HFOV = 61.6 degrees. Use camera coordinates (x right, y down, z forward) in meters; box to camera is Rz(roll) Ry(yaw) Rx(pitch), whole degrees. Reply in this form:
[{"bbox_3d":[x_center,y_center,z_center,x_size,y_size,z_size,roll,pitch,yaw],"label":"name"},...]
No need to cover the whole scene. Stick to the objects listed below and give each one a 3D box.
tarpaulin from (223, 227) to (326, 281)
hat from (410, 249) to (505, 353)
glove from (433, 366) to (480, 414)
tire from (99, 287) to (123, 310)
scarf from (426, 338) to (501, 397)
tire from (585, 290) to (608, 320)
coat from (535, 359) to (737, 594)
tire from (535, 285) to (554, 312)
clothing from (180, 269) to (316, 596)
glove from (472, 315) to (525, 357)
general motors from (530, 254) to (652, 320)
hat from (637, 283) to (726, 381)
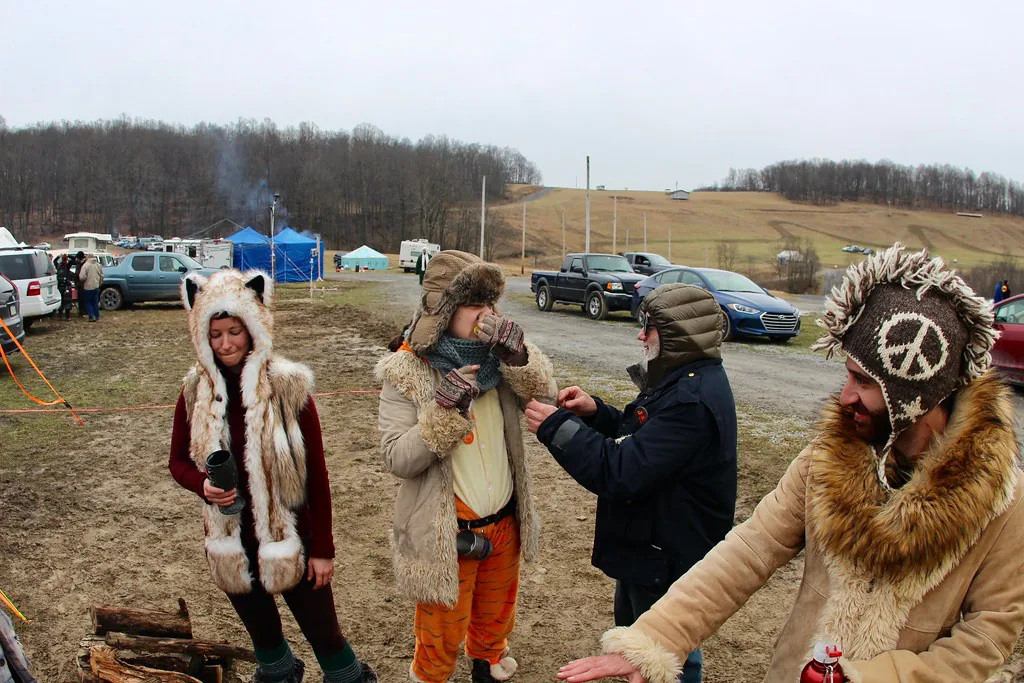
[{"bbox_3d":[-10.667,-3.411,37.363,3.434,1.756,3.654,-4,12,28],"label":"tarpaulin"},{"bbox_3d":[-0.314,-0.232,4.666,0.516,0.581,0.510,-3,12,-20],"label":"hat"},{"bbox_3d":[-0.275,0.243,4.317,0.220,0.234,0.099,22,-3,-25],"label":"glove"},{"bbox_3d":[-9.970,-1.091,21.350,0.482,0.529,0.181,-10,10,-1],"label":"tire"},{"bbox_3d":[-0.246,0.101,4.519,0.271,0.161,0.342,7,12,-40],"label":"scarf"},{"bbox_3d":[1.931,-0.836,19.590,0.221,0.676,0.633,-3,3,-24],"label":"tire"},{"bbox_3d":[0.708,0.668,4.682,1.057,1.217,1.007,5,3,6],"label":"coat"},{"bbox_3d":[0.822,-1.086,21.659,0.220,0.687,0.647,-2,2,-17],"label":"tire"},{"bbox_3d":[-1.385,0.503,4.547,0.619,1.693,0.479,-5,1,-8],"label":"clothing"},{"bbox_3d":[-0.073,-0.041,4.401,0.232,0.178,0.079,30,18,-9],"label":"glove"},{"bbox_3d":[1.984,-1.325,20.557,1.260,1.152,2.570,-3,5,-30],"label":"general motors"},{"bbox_3d":[0.889,-0.046,4.576,0.432,0.604,0.428,1,0,10],"label":"hat"}]
